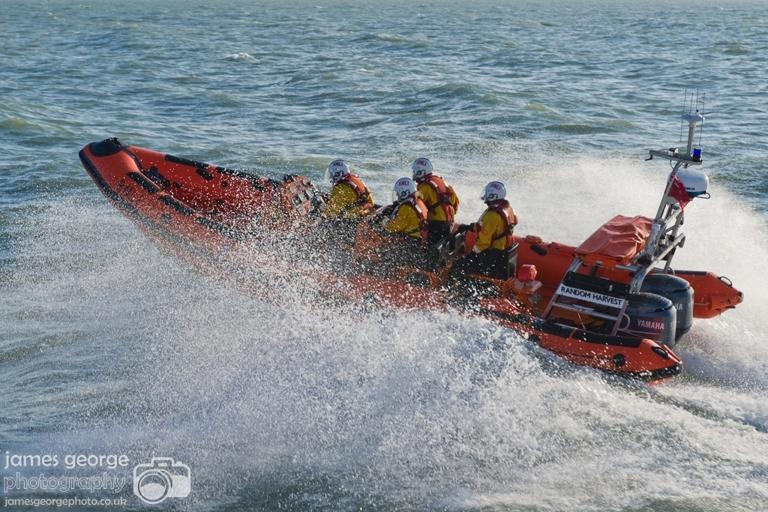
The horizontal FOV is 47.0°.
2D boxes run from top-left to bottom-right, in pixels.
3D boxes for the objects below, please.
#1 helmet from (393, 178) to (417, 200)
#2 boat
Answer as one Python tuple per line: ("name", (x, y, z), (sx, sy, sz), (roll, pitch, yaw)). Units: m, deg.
("helmet", (0.325, -1.088, 14.675), (0.360, 0.401, 0.316), (6, 43, 4))
("boat", (-0.760, 0.038, 16.864), (14.635, 3.858, 4.186), (9, 14, 7))
